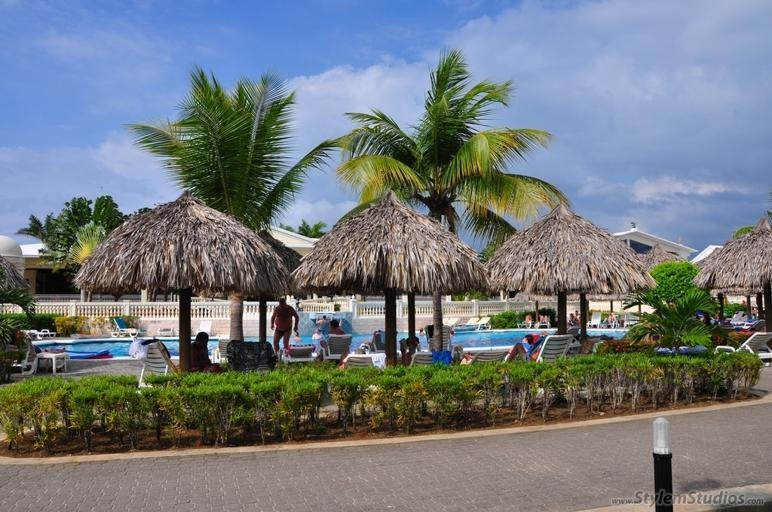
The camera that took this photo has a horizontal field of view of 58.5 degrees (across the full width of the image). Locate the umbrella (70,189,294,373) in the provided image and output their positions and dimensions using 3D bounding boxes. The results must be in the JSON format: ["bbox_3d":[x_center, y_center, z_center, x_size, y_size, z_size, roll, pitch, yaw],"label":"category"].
[{"bbox_3d":[-4.106,0.567,14.097,3.883,3.596,1.236,-1,9,-9],"label":"umbrella"}]

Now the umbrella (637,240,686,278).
[{"bbox_3d":[15.302,0.131,38.429,2.403,1.429,2.436,0,-3,1],"label":"umbrella"}]

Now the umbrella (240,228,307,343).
[{"bbox_3d":[-2.896,0.699,18.067,2.602,2.671,2.480,2,-7,-12],"label":"umbrella"}]

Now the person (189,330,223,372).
[{"bbox_3d":[-3.951,2.126,15.150,0.906,0.933,0.628,-3,-6,30],"label":"person"}]

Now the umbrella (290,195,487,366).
[{"bbox_3d":[-0.075,0.477,15.685,3.804,3.508,3.823,0,-4,-14],"label":"umbrella"}]

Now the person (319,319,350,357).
[{"bbox_3d":[-1.639,2.397,20.461,1.065,0.983,1.865,1,2,-17],"label":"person"}]

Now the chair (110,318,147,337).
[{"bbox_3d":[-12.726,3.468,33.449,1.665,1.064,0.927,-1,-2,21],"label":"chair"}]

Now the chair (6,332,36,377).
[{"bbox_3d":[-10.071,2.732,19.417,1.167,1.279,1.203,3,-8,-33],"label":"chair"}]
